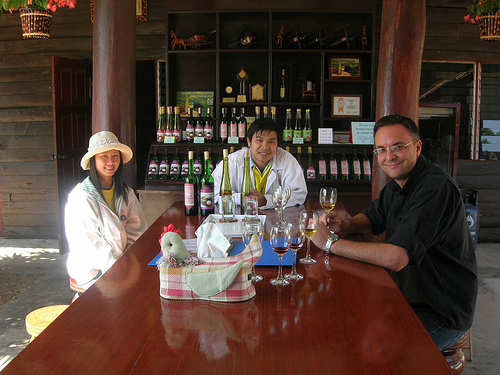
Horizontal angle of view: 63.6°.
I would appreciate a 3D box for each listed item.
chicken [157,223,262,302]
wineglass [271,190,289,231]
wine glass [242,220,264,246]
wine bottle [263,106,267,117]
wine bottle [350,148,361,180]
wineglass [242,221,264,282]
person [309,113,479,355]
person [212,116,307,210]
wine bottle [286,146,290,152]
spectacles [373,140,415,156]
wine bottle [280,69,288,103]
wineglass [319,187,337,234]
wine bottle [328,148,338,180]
[{"bbox_3d":[-0.164,0.314,1.611,0.417,0.234,0.132,2,14,7],"label":"chicken"},{"bbox_3d":[0.193,0.109,2.467,0.111,0.240,0.115,-8,21,-8],"label":"wineglass"},{"bbox_3d":[0.012,0.201,1.827,0.093,0.122,0.100,0,-1,1],"label":"wine glass"},{"bbox_3d":[0.182,-0.870,4.641,0.033,0.109,0.100,2,15,9],"label":"wine bottle"},{"bbox_3d":[1.231,-0.276,4.663,0.119,0.353,0.188,1,14,4],"label":"wine bottle"},{"bbox_3d":[0.014,0.279,1.820,0.100,0.274,0.101,2,6,35],"label":"wineglass"},{"bbox_3d":[0.698,0.172,2.772,1.041,1.955,1.015,1,3,5],"label":"person"},{"bbox_3d":[0.073,-0.021,3.351,0.763,1.103,0.584,2,-3,6],"label":"person"},{"bbox_3d":[0.429,-0.444,4.582,0.047,0.101,0.029,3,11,28],"label":"wine bottle"},{"bbox_3d":[0.778,-0.216,2.186,0.205,0.088,0.117,6,16,23],"label":"spectacles"},{"bbox_3d":[0.422,-1.250,4.962,0.092,0.382,0.073,0,14,-1],"label":"wine bottle"},{"bbox_3d":[0.458,0.116,2.375,0.092,0.219,0.370,3,15,10],"label":"wineglass"},{"bbox_3d":[0.947,-0.276,4.644,0.141,0.346,0.122,8,16,30],"label":"wine bottle"}]
